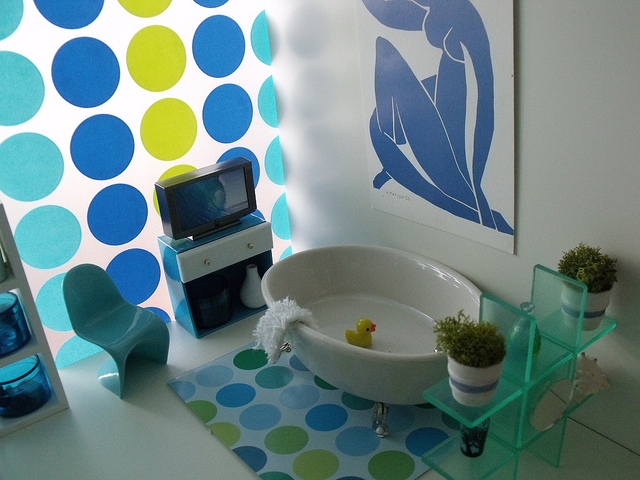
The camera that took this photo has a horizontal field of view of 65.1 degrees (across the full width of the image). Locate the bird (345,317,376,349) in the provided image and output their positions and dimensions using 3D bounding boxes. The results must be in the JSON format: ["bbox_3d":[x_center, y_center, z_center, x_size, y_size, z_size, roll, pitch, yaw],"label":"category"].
[{"bbox_3d":[0.259,0.588,3.186,0.183,0.193,0.140,-1,12,16],"label":"bird"}]

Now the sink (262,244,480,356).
[{"bbox_3d":[0.356,0.374,3.402,1.386,0.521,0.539,2,20,23],"label":"sink"}]

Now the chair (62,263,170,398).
[{"bbox_3d":[-1.324,0.567,3.299,0.492,0.829,0.437,-22,25,-40],"label":"chair"}]

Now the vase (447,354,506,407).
[{"bbox_3d":[0.697,0.607,2.240,0.209,0.207,0.245,0,14,29],"label":"vase"}]

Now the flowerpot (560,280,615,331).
[{"bbox_3d":[1.267,0.327,2.436,0.222,0.213,0.221,10,28,19],"label":"flowerpot"}]

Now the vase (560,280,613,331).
[{"bbox_3d":[1.269,0.342,2.446,0.189,0.194,0.211,13,11,24],"label":"vase"}]

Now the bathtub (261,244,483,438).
[{"bbox_3d":[0.295,0.571,3.223,1.127,0.601,1.534,-24,26,-37],"label":"bathtub"}]

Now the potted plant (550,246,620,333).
[{"bbox_3d":[1.321,0.263,2.485,0.220,0.330,0.261,8,16,10],"label":"potted plant"}]

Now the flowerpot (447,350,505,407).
[{"bbox_3d":[0.700,0.609,2.239,0.229,0.196,0.213,-14,14,-39],"label":"flowerpot"}]

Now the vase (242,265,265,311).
[{"bbox_3d":[-0.516,0.382,3.913,0.199,0.314,0.210,14,33,27],"label":"vase"}]

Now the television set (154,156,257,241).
[{"bbox_3d":[-0.842,-0.278,3.619,0.479,0.369,0.142,-25,34,-27],"label":"television set"}]

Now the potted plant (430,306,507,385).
[{"bbox_3d":[0.657,0.524,2.284,0.289,0.233,0.308,-23,40,-27],"label":"potted plant"}]

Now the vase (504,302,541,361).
[{"bbox_3d":[0.935,0.422,2.317,0.137,0.274,0.235,6,22,32],"label":"vase"}]
